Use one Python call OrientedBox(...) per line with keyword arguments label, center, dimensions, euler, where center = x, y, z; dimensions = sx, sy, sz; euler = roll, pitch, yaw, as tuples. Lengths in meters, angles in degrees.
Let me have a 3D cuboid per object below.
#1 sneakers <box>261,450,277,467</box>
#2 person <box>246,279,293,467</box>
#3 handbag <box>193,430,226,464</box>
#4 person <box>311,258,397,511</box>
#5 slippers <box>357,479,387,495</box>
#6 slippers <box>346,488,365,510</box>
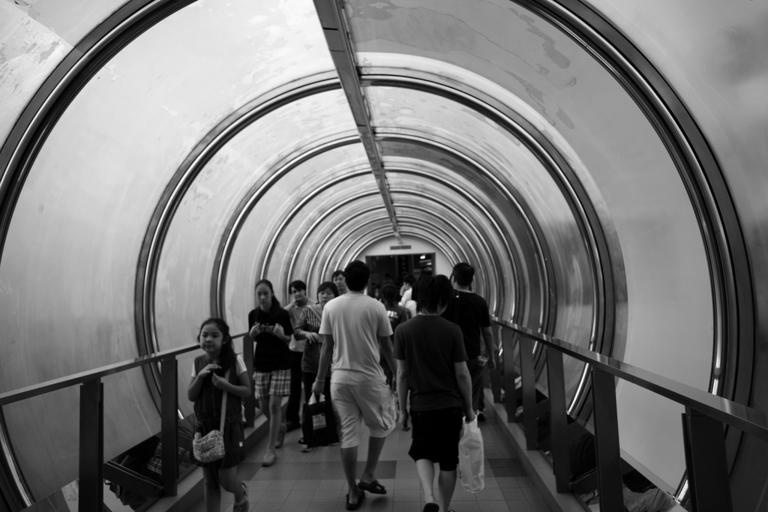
OrientedBox(label="sneakers", center=(-1.374, 2.438, 6.021), dimensions=(0.125, 0.175, 0.283), euler=(-7, -11, 30))
OrientedBox(label="person", center=(-1.518, 1.467, 6.549), dimensions=(0.547, 2.265, 1.157), euler=(2, -10, -15))
OrientedBox(label="handbag", center=(-1.486, 1.616, 4.208), dimensions=(0.230, 0.235, 0.130), euler=(-9, -25, 1))
OrientedBox(label="person", center=(-0.280, 1.263, 5.008), dimensions=(0.785, 2.453, 0.554), euler=(0, -9, -5))
OrientedBox(label="slippers", center=(-0.129, 2.373, 5.067), dimensions=(0.344, 0.140, 0.134), euler=(21, 18, -26))
OrientedBox(label="slippers", center=(-0.280, 2.414, 4.929), dimensions=(0.209, 0.163, 0.158), euler=(2, -10, -17))
